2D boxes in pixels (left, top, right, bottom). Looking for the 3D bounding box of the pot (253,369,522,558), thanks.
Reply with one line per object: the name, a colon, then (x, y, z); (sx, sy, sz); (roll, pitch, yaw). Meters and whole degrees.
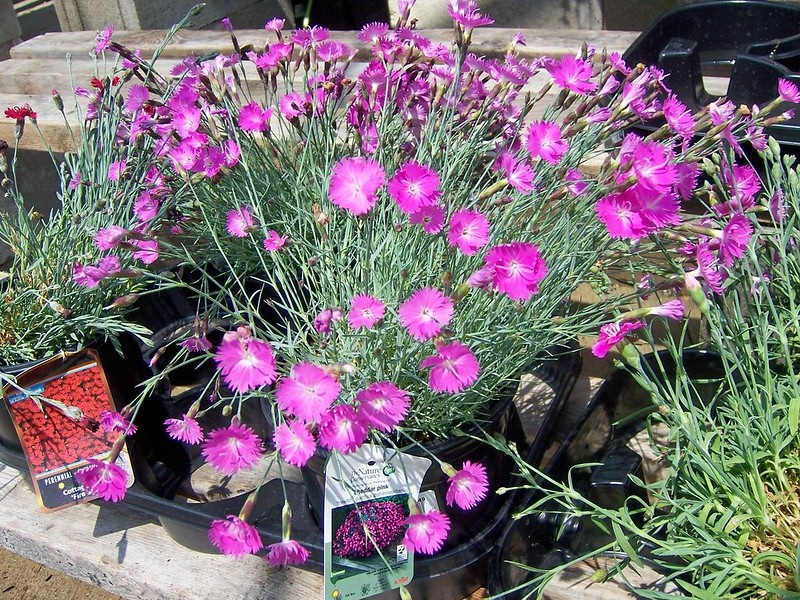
pot: (0.044, 0.222, 0.926); (0.262, 0.124, 0.273); (-3, 27, 2)
